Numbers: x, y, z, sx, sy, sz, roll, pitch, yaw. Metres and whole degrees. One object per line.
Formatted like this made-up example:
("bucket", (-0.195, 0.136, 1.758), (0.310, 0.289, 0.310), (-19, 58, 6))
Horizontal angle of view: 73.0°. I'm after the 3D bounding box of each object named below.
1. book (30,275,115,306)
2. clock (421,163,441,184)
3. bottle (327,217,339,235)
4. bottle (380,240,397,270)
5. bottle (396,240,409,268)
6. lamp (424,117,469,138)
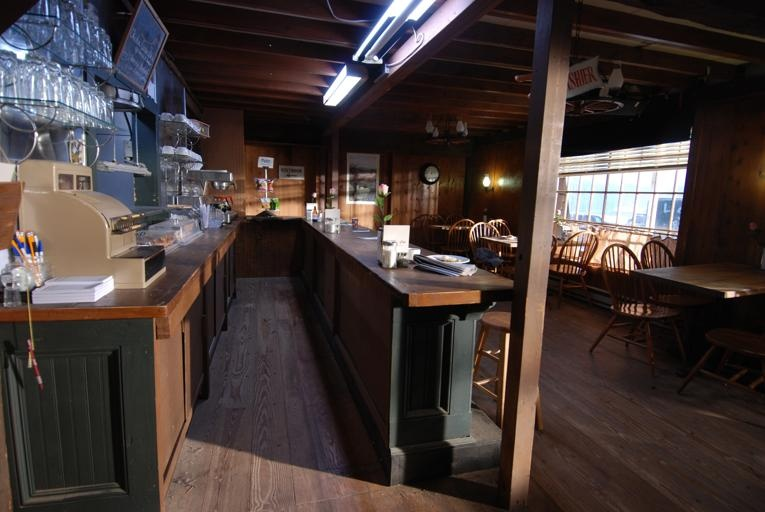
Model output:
("book", (-1.889, 0.214, 3.165), (0.407, 0.146, 0.206), (1, 8, -11))
("clock", (0.979, -1.724, 10.760), (0.322, 0.337, 0.104), (-26, 16, -28))
("bottle", (-0.570, -0.328, 5.773), (0.104, 0.197, 0.199), (0, -3, 30))
("bottle", (0.024, -0.010, 3.992), (0.104, 0.202, 0.172), (-5, 11, -45))
("bottle", (0.143, -0.014, 4.003), (0.089, 0.194, 0.118), (3, 7, 1))
("lamp", (1.075, -2.163, 8.650), (0.504, 0.261, 0.405), (2, 6, 2))
